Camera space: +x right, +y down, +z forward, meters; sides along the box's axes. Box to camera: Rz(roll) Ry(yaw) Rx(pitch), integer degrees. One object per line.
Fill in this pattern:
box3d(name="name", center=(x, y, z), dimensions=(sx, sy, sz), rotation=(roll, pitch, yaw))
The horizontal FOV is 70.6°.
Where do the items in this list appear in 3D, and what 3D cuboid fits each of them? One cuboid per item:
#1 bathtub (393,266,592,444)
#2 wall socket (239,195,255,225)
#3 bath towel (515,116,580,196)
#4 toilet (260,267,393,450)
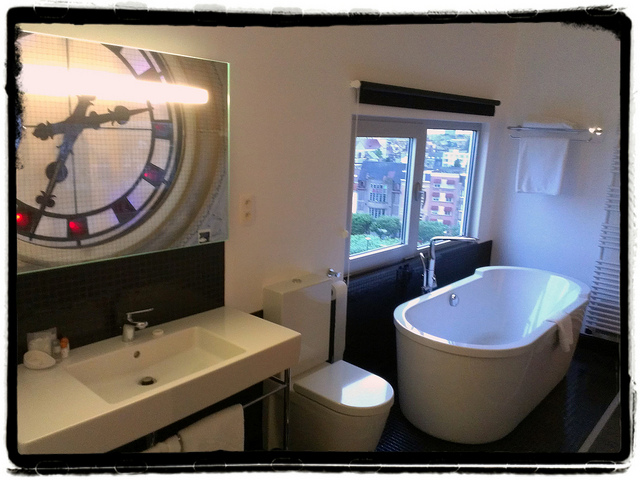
box3d(name="bathtub", center=(1.272, 0.730, 3.325), dimensions=(1.903, 0.649, 0.871), rotation=(-11, 18, -44))
box3d(name="wall socket", center=(-0.370, -0.159, 2.364), dimensions=(0.122, 0.169, 0.017), rotation=(-2, -4, 36))
box3d(name="bath towel", center=(1.955, -0.684, 3.949), dimensions=(0.443, 0.532, 0.156), rotation=(10, 16, 24))
box3d(name="toilet", center=(0.086, 0.739, 2.539), dimensions=(0.693, 0.972, 0.626), rotation=(18, 16, 37))
